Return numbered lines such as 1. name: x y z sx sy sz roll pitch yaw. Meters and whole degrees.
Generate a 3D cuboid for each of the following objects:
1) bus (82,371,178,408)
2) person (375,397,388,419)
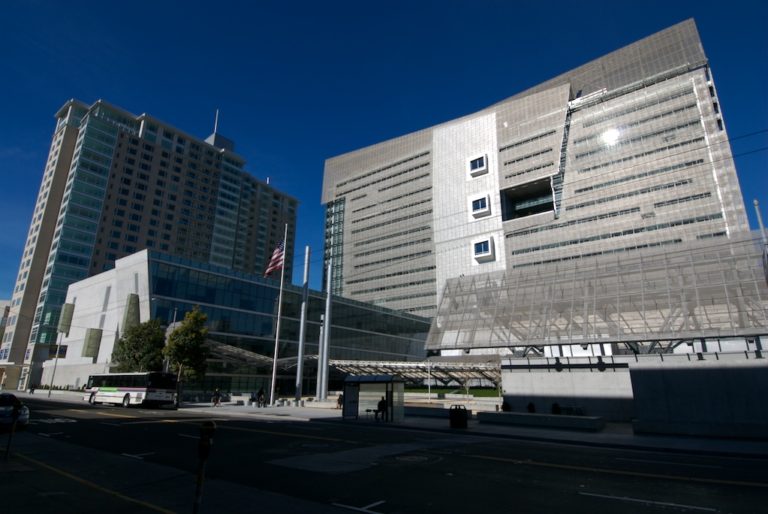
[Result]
1. bus: -26.922 14.218 53.068 13.115 3.343 4.285 -13 -22 36
2. person: -0.188 12.385 40.645 0.974 1.886 1.435 0 -19 0
